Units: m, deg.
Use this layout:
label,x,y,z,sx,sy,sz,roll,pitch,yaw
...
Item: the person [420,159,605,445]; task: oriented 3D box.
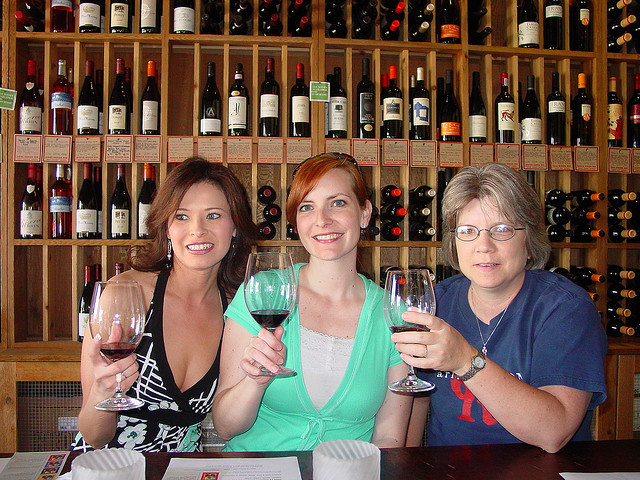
label,x,y,z,sx,sy,sz,roll,pitch,yaw
person,0.713,0.196,2.236,0.608,1.009,0.667,-2,-2,17

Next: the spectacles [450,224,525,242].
label,x,y,z,sx,sy,sz,roll,pitch,yaw
spectacles,0.658,-0.026,2.380,0.276,0.068,0.101,-2,-1,13

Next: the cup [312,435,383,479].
label,x,y,z,sx,sy,sz,roll,pitch,yaw
cup,0.080,0.679,1.844,0.174,0.145,0.178,-1,4,0

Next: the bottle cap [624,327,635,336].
label,x,y,z,sx,sy,sz,roll,pitch,yaw
bottle cap,1.780,0.532,3.457,0.044,0.047,0.071,0,6,-12

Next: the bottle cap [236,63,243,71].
label,x,y,z,sx,sy,sz,roll,pitch,yaw
bottle cap,-0.470,-0.989,3.431,0.041,0.040,0.042,-2,-5,31

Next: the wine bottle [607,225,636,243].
label,x,y,z,sx,sy,sz,roll,pitch,yaw
wine bottle,1.796,-0.036,3.595,0.137,0.110,0.221,-2,-1,21

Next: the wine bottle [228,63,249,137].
label,x,y,z,sx,sy,sz,roll,pitch,yaw
wine bottle,-0.473,-0.786,3.422,0.117,0.427,0.193,-1,-2,-9

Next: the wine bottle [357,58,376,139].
label,x,y,z,sx,sy,sz,roll,pitch,yaw
wine bottle,0.264,-0.814,3.502,0.111,0.461,0.128,-2,-2,4

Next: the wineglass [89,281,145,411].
label,x,y,z,sx,sy,sz,roll,pitch,yaw
wineglass,-0.702,0.369,2.067,0.192,0.447,0.198,-2,-2,8

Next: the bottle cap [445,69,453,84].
label,x,y,z,sx,sy,sz,roll,pitch,yaw
bottle cap,0.763,-0.968,3.558,0.038,0.073,0.075,-2,-1,11

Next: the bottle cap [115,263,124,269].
label,x,y,z,sx,sy,sz,roll,pitch,yaw
bottle cap,-1.118,0.149,3.355,0.049,0.047,0.050,1,0,-32

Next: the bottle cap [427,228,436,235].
label,x,y,z,sx,sy,sz,roll,pitch,yaw
bottle cap,0.642,-0.043,3.467,0.043,0.044,0.066,-2,-1,19

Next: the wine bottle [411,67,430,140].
label,x,y,z,sx,sy,sz,roll,pitch,yaw
wine bottle,0.583,-0.789,3.532,0.110,0.420,0.193,-2,-2,10

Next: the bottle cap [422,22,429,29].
label,x,y,z,sx,sy,sz,roll,pitch,yaw
bottle cap,0.590,-1.213,3.381,0.030,0.032,0.022,2,9,-17

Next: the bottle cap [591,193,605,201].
label,x,y,z,sx,sy,sz,roll,pitch,yaw
bottle cap,1.650,-0.255,3.564,0.072,0.039,0.046,-2,-1,-1

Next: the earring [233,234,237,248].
label,x,y,z,sx,sy,sz,roll,pitch,yaw
earring,-0.396,0.008,2.777,0.016,0.060,0.037,-1,-2,-16

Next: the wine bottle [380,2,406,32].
label,x,y,z,sx,sy,sz,roll,pitch,yaw
wine bottle,0.417,-1.300,3.504,0.145,0.122,0.256,-2,-1,6

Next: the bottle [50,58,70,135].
label,x,y,z,sx,sy,sz,roll,pitch,yaw
bottle,-1.478,-0.799,3.393,0.103,0.430,0.186,-1,-2,-24

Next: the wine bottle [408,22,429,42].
label,x,y,z,sx,sy,sz,roll,pitch,yaw
wine bottle,0.579,-1.223,3.527,0.076,0.084,0.208,11,15,-7

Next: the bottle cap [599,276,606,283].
label,x,y,z,sx,sy,sz,roll,pitch,yaw
bottle cap,1.663,0.238,3.546,0.052,0.039,0.015,-1,-2,-23

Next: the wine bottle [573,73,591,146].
label,x,y,z,sx,sy,sz,roll,pitch,yaw
wine bottle,1.572,-0.779,3.624,0.100,0.435,0.178,-3,-2,32

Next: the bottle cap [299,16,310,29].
label,x,y,z,sx,sy,sz,roll,pitch,yaw
bottle cap,-0.094,-1.226,3.379,0.028,0.028,0.091,-39,-3,-14

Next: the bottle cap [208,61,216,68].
label,x,y,z,sx,sy,sz,roll,pitch,yaw
bottle cap,-0.623,-1.001,3.426,0.039,0.043,0.048,-1,-1,-19

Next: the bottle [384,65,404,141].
label,x,y,z,sx,sy,sz,roll,pitch,yaw
bottle,0.434,-0.785,3.534,0.114,0.441,0.262,-2,-2,7

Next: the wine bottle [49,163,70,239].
label,x,y,z,sx,sy,sz,roll,pitch,yaw
wine bottle,-1.488,-0.212,3.416,0.108,0.425,0.180,-1,-2,-25

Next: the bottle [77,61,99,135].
label,x,y,z,sx,sy,sz,roll,pitch,yaw
bottle,-1.328,-0.808,3.426,0.112,0.452,0.248,-1,-2,-20

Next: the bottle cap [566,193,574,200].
label,x,y,z,sx,sy,sz,roll,pitch,yaw
bottle cap,1.494,-0.259,3.600,0.043,0.033,0.011,-1,2,-8

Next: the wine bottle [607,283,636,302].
label,x,y,z,sx,sy,sz,roll,pitch,yaw
wine bottle,1.818,0.328,3.651,0.134,0.116,0.194,-2,-1,17

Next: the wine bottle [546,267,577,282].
label,x,y,z,sx,sy,sz,roll,pitch,yaw
wine bottle,1.424,0.210,3.554,0.166,0.083,0.258,-2,-1,25

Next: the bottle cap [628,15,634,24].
label,x,y,z,sx,sy,sz,roll,pitch,yaw
bottle cap,1.844,-1.315,3.563,0.030,0.038,0.034,-15,-8,30

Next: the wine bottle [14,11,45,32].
label,x,y,z,sx,sy,sz,roll,pitch,yaw
wine bottle,-1.660,-1.242,3.402,0.046,0.050,0.160,26,8,-6

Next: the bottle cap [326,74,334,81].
label,x,y,z,sx,sy,sz,roll,pitch,yaw
bottle cap,0.056,-0.980,3.622,0.045,0.054,0.047,1,6,0

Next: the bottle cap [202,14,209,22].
label,x,y,z,sx,sy,sz,roll,pitch,yaw
bottle cap,-0.674,-1.303,3.514,0.038,0.042,0.013,5,8,15

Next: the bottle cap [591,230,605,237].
label,x,y,z,sx,sy,sz,roll,pitch,yaw
bottle cap,1.630,-0.035,3.530,0.087,0.042,0.053,-1,-1,-35

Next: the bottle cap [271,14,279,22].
label,x,y,z,sx,sy,sz,roll,pitch,yaw
bottle cap,-0.251,-1.239,3.341,0.037,0.031,0.060,-3,-2,38

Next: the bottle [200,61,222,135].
label,x,y,z,sx,sy,sz,roll,pitch,yaw
bottle,-0.646,-0.799,3.512,0.125,0.424,0.341,-1,-2,-12

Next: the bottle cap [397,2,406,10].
label,x,y,z,sx,sy,sz,roll,pitch,yaw
bottle cap,0.460,-1.323,3.394,0.036,0.039,0.035,-13,2,35

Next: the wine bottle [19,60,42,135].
label,x,y,z,sx,sy,sz,roll,pitch,yaw
wine bottle,-1.639,-0.789,3.388,0.115,0.423,0.194,-1,-2,-25

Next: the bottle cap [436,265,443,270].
label,x,y,z,sx,sy,sz,roll,pitch,yaw
bottle cap,0.708,0.168,3.581,0.029,0.032,0.027,2,-2,15

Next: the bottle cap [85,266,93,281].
label,x,y,z,sx,sy,sz,roll,pitch,yaw
bottle cap,-1.301,0.193,3.367,0.037,0.084,0.079,-1,-2,-20

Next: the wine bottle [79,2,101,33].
label,x,y,z,sx,sy,sz,roll,pitch,yaw
wine bottle,-1.295,-1.254,3.369,0.114,0.182,0.095,-1,-2,-24

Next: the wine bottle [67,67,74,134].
label,x,y,z,sx,sy,sz,roll,pitch,yaw
wine bottle,-1.440,-0.815,3.454,0.029,0.385,0.193,-1,-2,-24

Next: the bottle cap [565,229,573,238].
label,x,y,z,sx,sy,sz,roll,pitch,yaw
bottle cap,1.481,-0.035,3.577,0.048,0.050,0.035,7,-7,-27
